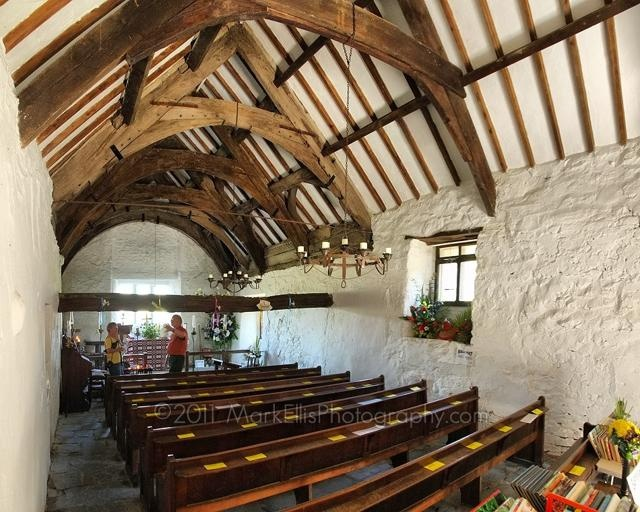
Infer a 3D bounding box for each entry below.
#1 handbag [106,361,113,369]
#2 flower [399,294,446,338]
[{"bbox_3d":[-4.035,2.112,8.857,0.150,0.177,0.056,1,-2,19],"label":"handbag"},{"bbox_3d":[1.945,1.058,8.300,0.813,0.741,0.696,2,-2,-32],"label":"flower"}]
